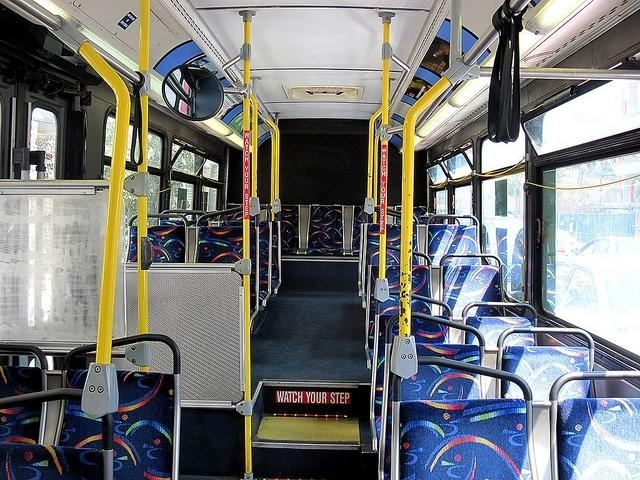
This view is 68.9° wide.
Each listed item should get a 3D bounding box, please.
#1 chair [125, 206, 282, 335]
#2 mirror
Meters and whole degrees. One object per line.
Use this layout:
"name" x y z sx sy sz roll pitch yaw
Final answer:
"chair" -1.310 0.068 5.758 1.717 1.464 1.414 1 3 3
"mirror" -0.702 -0.806 2.583 0.324 0.333 0.026 2 44 -14
